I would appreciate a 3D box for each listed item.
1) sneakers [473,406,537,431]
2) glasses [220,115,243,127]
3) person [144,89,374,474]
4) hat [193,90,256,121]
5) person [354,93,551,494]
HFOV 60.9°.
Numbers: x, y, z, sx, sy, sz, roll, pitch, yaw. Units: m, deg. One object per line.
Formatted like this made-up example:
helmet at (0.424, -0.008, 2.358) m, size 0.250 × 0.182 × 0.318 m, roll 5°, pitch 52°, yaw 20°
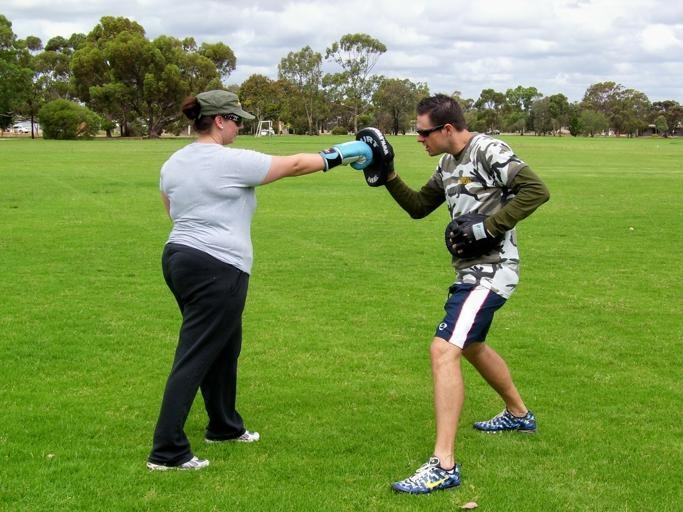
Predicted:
sneakers at (1.425, 1.455, 5.103) m, size 0.533 × 0.215 × 0.196 m, roll 1°, pitch -4°, yaw 1°
glasses at (-0.853, -1.036, 4.439) m, size 0.092 × 0.093 × 0.028 m, roll 8°, pitch 11°, yaw -3°
person at (-0.814, 0.383, 4.506) m, size 1.279 × 2.456 × 0.520 m, roll 1°, pitch 9°, yaw -17°
hat at (-0.897, -1.116, 4.447) m, size 0.415 × 0.186 × 0.272 m, roll -4°, pitch 12°, yaw -26°
person at (0.935, 0.160, 4.748) m, size 1.055 × 2.943 × 1.442 m, roll 1°, pitch 9°, yaw -17°
